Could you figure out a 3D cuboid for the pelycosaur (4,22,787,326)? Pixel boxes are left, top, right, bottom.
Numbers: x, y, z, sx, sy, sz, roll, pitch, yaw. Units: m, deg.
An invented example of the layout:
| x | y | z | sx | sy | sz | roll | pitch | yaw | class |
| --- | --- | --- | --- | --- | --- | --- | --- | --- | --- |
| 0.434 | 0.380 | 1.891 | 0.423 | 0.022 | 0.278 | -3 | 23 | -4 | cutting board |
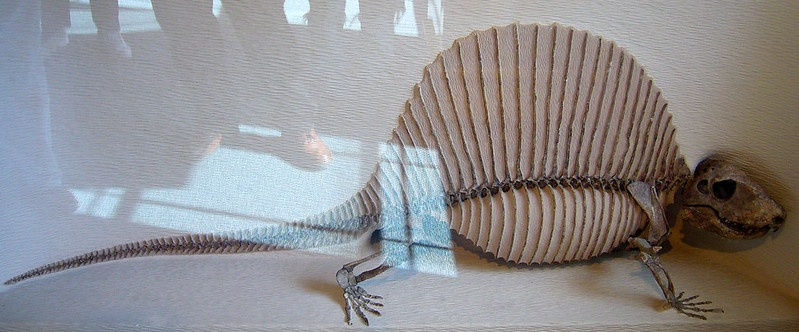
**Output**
| x | y | z | sx | sy | sz | roll | pitch | yaw | class |
| --- | --- | --- | --- | --- | --- | --- | --- | --- | --- |
| 1.256 | -0.096 | 4.602 | 5.077 | 1.477 | 1.415 | 1 | 8 | -1 | pelycosaur |
